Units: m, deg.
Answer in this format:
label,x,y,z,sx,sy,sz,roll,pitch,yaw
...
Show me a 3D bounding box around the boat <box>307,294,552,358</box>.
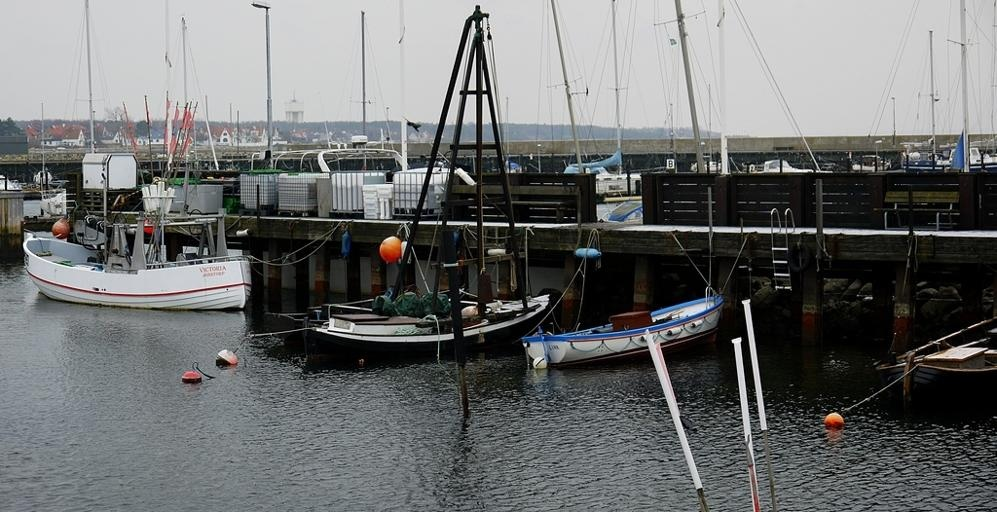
label,x,y,z,sx,sy,sz,roll,pitch,yaw
boat,-2.772,2.975,46.511,8.939,1.912,3.202,-3,8,-19
